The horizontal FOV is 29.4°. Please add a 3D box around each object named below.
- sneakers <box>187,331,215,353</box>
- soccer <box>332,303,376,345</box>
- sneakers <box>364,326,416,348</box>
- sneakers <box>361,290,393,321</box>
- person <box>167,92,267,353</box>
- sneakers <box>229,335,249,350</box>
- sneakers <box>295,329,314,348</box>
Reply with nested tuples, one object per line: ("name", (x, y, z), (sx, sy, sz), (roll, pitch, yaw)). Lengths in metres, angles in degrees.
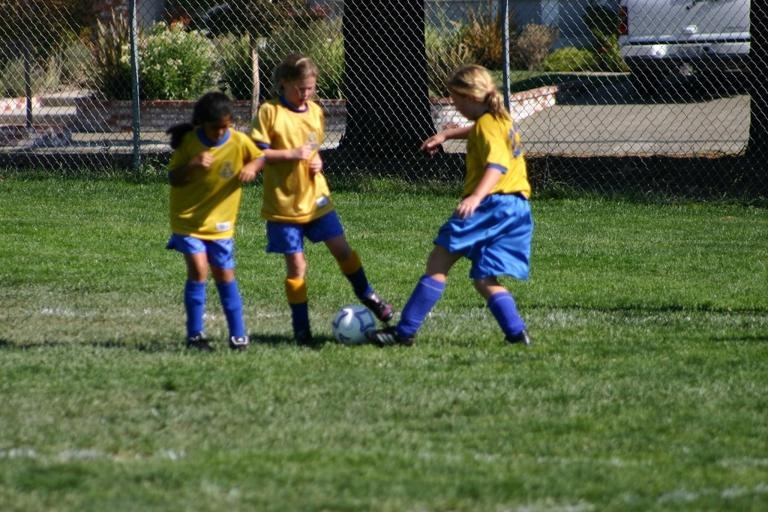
("sneakers", (-1.918, 0.926, 15.100), (0.272, 0.191, 0.147), (-3, 2, 23))
("soccer", (-0.311, 0.744, 15.279), (0.445, 0.394, 0.393), (6, 30, 5))
("sneakers", (0.058, 0.884, 15.213), (0.528, 0.263, 0.192), (10, -25, 1))
("sneakers", (-0.055, 0.572, 15.482), (0.462, 0.173, 0.198), (39, -7, -2))
("person", (-1.761, -0.337, 14.962), (0.936, 2.647, 0.306), (-2, 8, -8))
("sneakers", (-1.500, 0.925, 15.123), (0.133, 0.117, 0.262), (0, 4, -4))
("sneakers", (-0.834, 0.876, 15.226), (0.199, 0.205, 0.121), (5, 0, 4))
